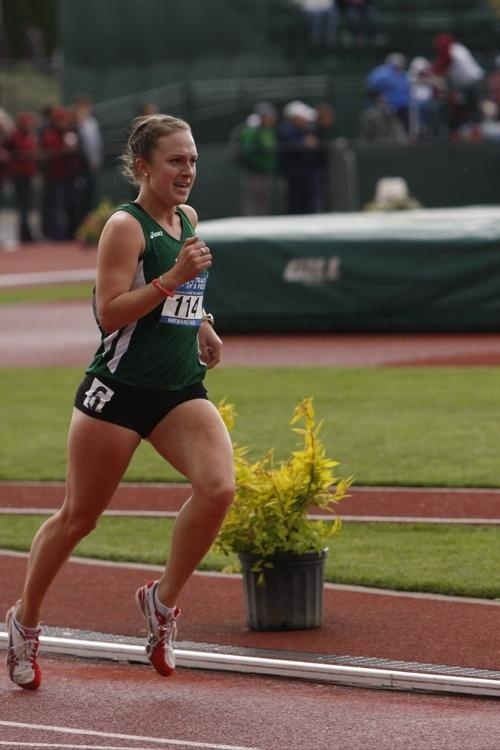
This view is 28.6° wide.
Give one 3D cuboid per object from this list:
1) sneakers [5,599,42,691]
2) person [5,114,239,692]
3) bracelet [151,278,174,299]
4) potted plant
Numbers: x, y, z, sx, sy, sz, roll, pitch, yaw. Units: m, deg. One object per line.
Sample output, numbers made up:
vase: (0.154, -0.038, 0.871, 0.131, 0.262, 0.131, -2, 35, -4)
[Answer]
sneakers: (-0.687, 0.833, 3.007, 0.100, 0.238, 0.134, 2, -25, -41)
person: (-0.401, 0.091, 2.872, 0.682, 1.701, 0.502, -3, 7, -1)
bracelet: (-0.232, -0.229, 2.630, 0.022, 0.056, 0.050, -46, -1, 4)
potted plant: (0.071, 0.510, 3.562, 0.746, 0.807, 0.652, 6, -7, -3)
